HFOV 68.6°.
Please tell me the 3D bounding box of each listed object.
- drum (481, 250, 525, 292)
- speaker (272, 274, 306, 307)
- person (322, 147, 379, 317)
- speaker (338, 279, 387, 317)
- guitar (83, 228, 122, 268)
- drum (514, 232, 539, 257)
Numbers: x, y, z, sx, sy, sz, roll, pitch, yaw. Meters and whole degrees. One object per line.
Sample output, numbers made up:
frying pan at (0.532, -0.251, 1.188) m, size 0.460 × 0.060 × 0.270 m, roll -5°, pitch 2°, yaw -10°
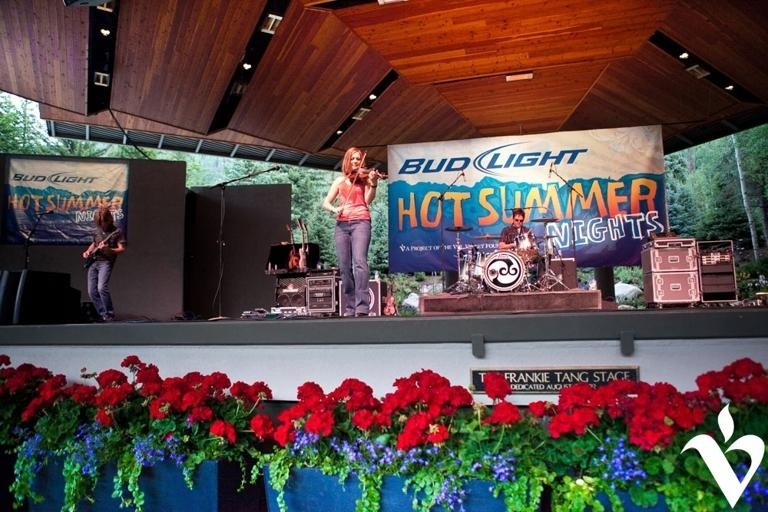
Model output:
drum at (1.288, 0.181, 6.119) m, size 0.438 × 0.429 × 0.437 m, roll 1°, pitch -8°, yaw 11°
speaker at (-1.314, 0.492, 8.311) m, size 0.588 × 0.561 × 0.430 m, roll -1°, pitch -4°, yaw 10°
person at (-0.304, -0.247, 5.567) m, size 0.628 × 1.665 × 0.443 m, roll -5°, pitch -8°, yaw 35°
speaker at (-0.318, 0.680, 9.478) m, size 0.748 × 0.733 × 0.759 m, roll -1°, pitch -4°, yaw 8°
guitar at (-3.327, -0.094, 6.634) m, size 0.438 × 0.449 × 0.270 m, roll -6°, pitch -9°, yaw 43°
drum at (1.676, -0.132, 6.627) m, size 0.269 × 0.241 × 0.259 m, roll 9°, pitch -12°, yaw -35°
